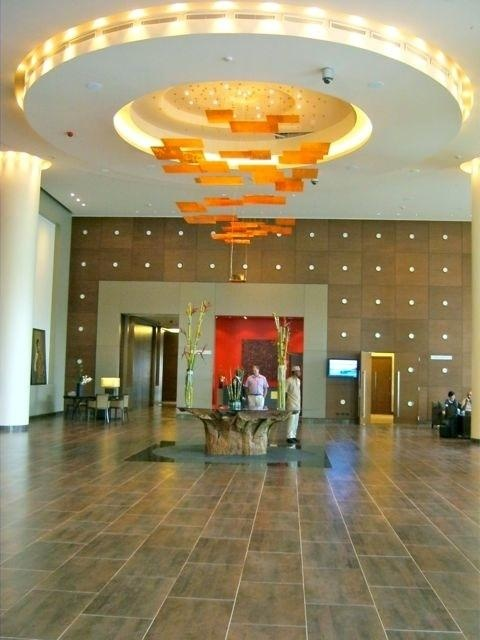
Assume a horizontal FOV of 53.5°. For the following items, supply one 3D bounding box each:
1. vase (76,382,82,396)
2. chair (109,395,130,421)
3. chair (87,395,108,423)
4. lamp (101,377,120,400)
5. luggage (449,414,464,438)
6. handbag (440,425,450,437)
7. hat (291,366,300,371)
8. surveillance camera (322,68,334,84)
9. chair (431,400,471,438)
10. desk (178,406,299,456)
[{"bbox_3d":[-4.892,2.139,14.494,0.181,0.392,0.293,3,-8,-15],"label":"vase"},{"bbox_3d":[-3.786,2.701,14.831,0.579,0.740,1.743,4,-8,-15],"label":"chair"},{"bbox_3d":[-4.254,2.632,14.364,0.610,0.800,1.682,4,-8,-15],"label":"chair"},{"bbox_3d":[-4.063,2.160,14.940,0.446,0.861,0.455,8,12,37],"label":"lamp"},{"bbox_3d":[5.666,2.777,12.490,0.343,0.592,0.323,-2,-8,24],"label":"luggage"},{"bbox_3d":[5.367,2.925,12.512,0.140,0.267,0.277,3,-8,-17],"label":"handbag"},{"bbox_3d":[1.229,1.099,10.622,0.207,0.110,0.295,0,-8,-1],"label":"hat"},{"bbox_3d":[1.345,-3.767,7.343,0.143,0.168,0.146,-2,3,-4],"label":"surveillance camera"},{"bbox_3d":[5.736,2.720,12.968,0.594,0.879,1.102,0,0,-11],"label":"chair"},{"bbox_3d":[-0.052,1.946,8.274,1.459,0.827,0.992,1,-8,0],"label":"desk"}]
